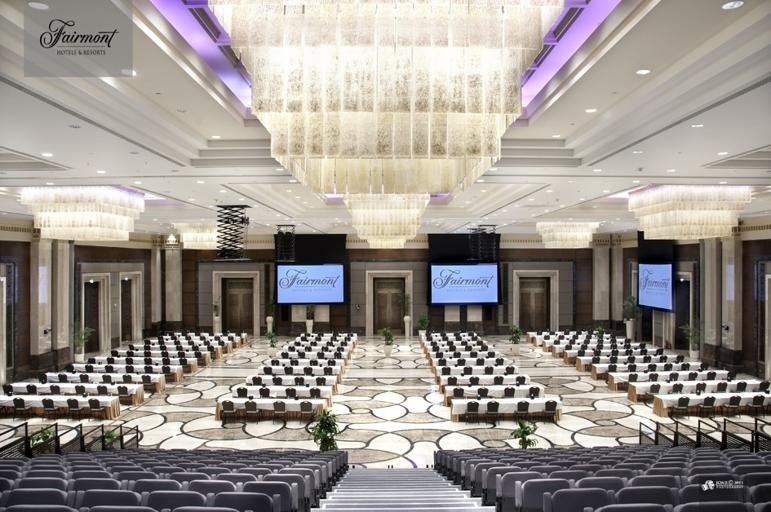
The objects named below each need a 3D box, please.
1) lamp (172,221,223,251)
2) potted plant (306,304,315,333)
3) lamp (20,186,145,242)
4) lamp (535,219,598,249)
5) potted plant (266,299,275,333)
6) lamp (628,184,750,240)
[{"bbox_3d":[-7.762,-0.850,22.786,1.433,1.149,0.668,0,3,0],"label":"lamp"},{"bbox_3d":[-4.131,3.446,30.628,0.486,1.448,0.384,-1,3,-13],"label":"potted plant"},{"bbox_3d":[-8.082,-1.095,14.497,2.329,1.035,1.577,0,-4,2],"label":"lamp"},{"bbox_3d":[7.368,-0.888,22.776,1.481,0.709,1.651,0,-3,4],"label":"lamp"},{"bbox_3d":[-6.408,3.392,30.806,0.487,1.600,0.691,-1,2,-13],"label":"potted plant"},{"bbox_3d":[7.999,-1.195,15.139,1.754,1.072,2.281,0,-3,-1],"label":"lamp"}]
